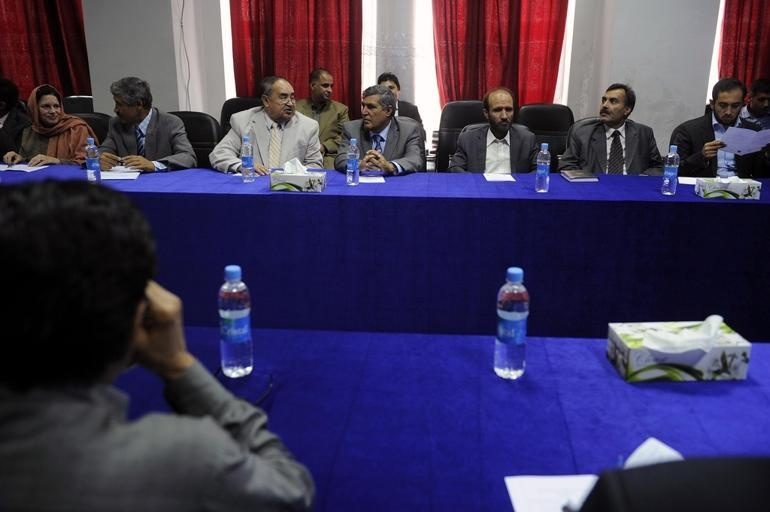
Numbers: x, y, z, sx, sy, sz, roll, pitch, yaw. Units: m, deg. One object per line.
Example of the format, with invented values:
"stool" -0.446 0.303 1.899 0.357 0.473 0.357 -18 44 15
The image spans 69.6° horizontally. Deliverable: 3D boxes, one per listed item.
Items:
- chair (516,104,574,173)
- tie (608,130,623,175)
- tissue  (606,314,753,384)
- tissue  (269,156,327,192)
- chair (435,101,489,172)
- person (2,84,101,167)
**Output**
"chair" 1.217 -0.930 4.396 0.447 0.640 0.547 2 6 11
"tie" 1.499 -0.673 3.613 0.091 0.380 0.024 -5 49 15
"tissue " 0.774 0.233 1.465 0.360 0.111 0.189 -1 20 2
"tissue " -0.425 -0.378 2.704 0.221 0.136 0.164 2 3 -4
"chair" 0.557 -0.940 4.422 0.408 0.671 0.559 2 -3 3
"person" -2.340 -0.925 3.877 0.590 0.499 1.042 -12 22 -24
